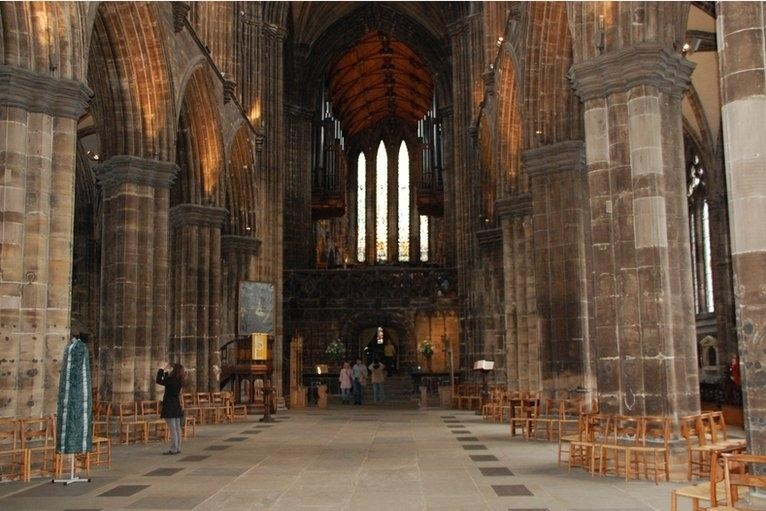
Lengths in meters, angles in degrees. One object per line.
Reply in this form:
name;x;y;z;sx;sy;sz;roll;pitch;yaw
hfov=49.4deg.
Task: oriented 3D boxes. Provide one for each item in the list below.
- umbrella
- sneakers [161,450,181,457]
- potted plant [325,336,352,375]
umbrella;-5.664;2.813;15.295;0.601;2.579;1.139;1;-3;-20
sneakers;-4.499;4.236;17.717;0.356;0.137;0.129;6;-13;0
potted plant;-2.267;4.567;37.345;1.508;1.581;1.514;0;-1;2
